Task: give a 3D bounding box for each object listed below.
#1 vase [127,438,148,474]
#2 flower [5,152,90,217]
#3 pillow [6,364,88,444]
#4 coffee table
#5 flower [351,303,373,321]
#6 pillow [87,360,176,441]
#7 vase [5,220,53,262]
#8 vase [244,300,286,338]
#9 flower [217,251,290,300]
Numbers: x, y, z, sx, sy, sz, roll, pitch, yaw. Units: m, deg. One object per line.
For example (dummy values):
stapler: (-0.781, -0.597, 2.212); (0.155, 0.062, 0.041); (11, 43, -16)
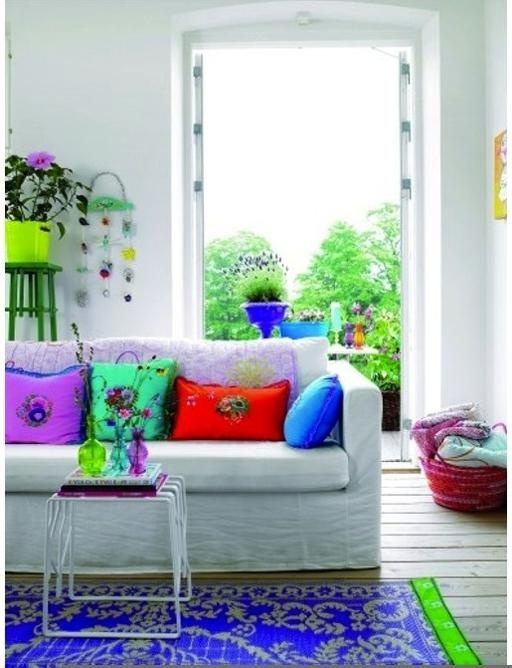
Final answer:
vase: (-0.375, 0.385, 2.160); (0.062, 0.105, 0.143); (-1, 4, -10)
flower: (-1.220, -0.859, 3.975); (0.468, 0.426, 0.403); (-1, 4, -8)
pillow: (-0.835, 0.298, 2.735); (0.339, 0.278, 0.124); (-1, -18, -1)
coffee table: (-0.446, 0.724, 2.197); (0.452, 0.404, 0.326); (1, -5, -6)
flower: (0.771, -0.154, 5.100); (0.145, 0.138, 0.129); (14, 9, 38)
pillow: (-0.486, 0.291, 2.821); (0.410, 0.374, 0.153); (-7, -17, 26)
vase: (-1.277, -0.518, 3.811); (0.223, 0.186, 0.266); (2, 5, 11)
vase: (0.040, -0.063, 3.617); (0.211, 0.149, 0.194); (-1, -10, -1)
flower: (0.031, -0.288, 3.816); (0.378, 0.200, 0.365); (-4, 28, 6)
